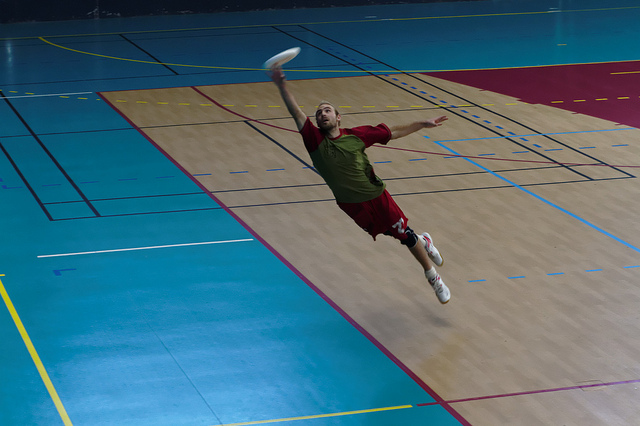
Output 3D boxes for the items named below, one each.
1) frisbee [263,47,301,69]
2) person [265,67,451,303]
[{"bbox_3d":[-0.295,-1.272,4.408,0.373,0.043,0.242,-12,2,-18],"label":"frisbee"},{"bbox_3d":[0.416,-0.224,4.832,1.048,2.277,0.827,-12,26,10],"label":"person"}]
